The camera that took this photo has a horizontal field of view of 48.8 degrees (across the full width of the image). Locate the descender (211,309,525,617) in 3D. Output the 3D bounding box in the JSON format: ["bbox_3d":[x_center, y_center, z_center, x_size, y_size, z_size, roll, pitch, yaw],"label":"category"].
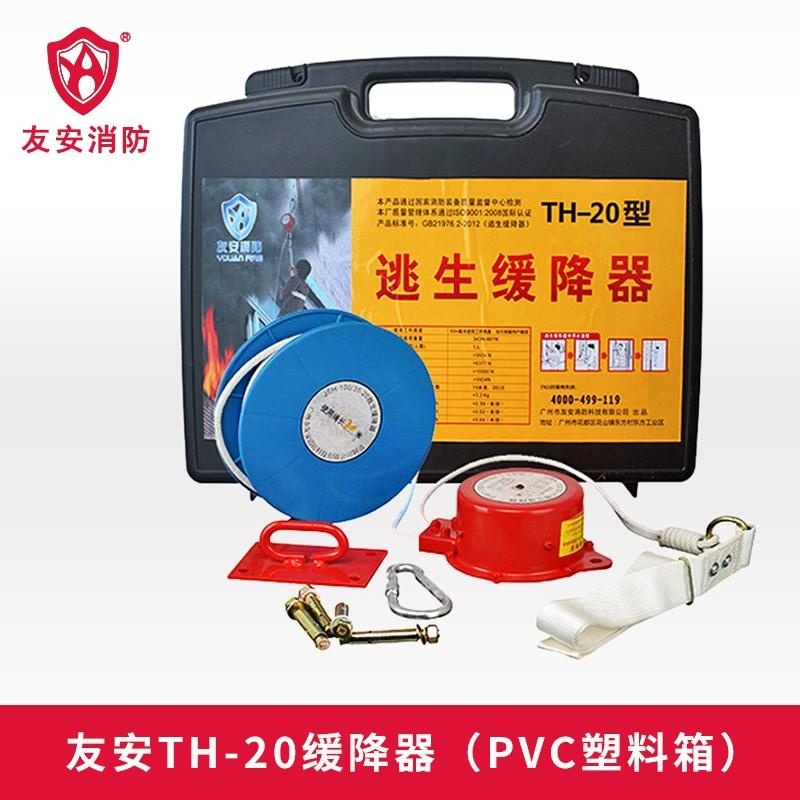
[{"bbox_3d":[-0.133,0.055,2.014,0.551,0.194,0.813,-18,35,-17],"label":"descender"}]

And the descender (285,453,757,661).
[{"bbox_3d":[0.231,0.296,1.808,0.927,0.243,0.597,0,5,-38],"label":"descender"}]
